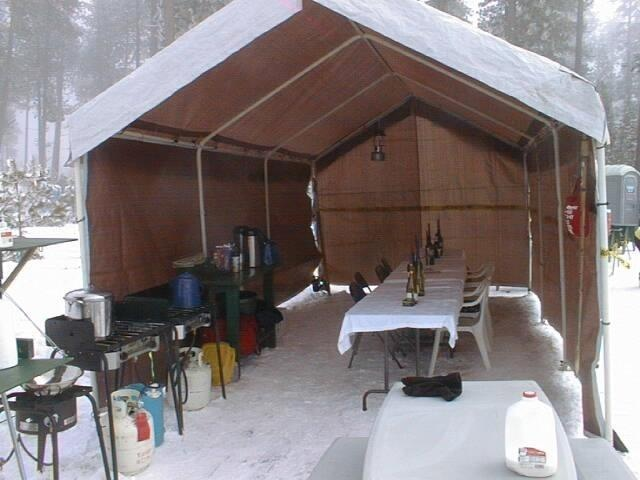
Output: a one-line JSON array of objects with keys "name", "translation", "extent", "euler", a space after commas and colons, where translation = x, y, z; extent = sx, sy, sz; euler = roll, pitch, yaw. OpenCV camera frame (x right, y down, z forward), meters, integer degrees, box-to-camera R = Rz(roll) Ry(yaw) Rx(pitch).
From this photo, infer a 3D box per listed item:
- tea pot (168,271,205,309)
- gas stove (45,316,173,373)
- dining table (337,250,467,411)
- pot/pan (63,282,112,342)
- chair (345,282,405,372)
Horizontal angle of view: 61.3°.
[{"name": "tea pot", "translation": [-1.136, 0.444, 4.626], "extent": [0.302, 0.272, 0.224], "euler": [2, 2, 16]}, {"name": "gas stove", "translation": [-1.457, 0.707, 3.728], "extent": [0.272, 0.228, 0.693], "euler": [-1, 0, 17]}, {"name": "dining table", "translation": [0.766, 0.686, 4.726], "extent": [1.022, 0.964, 2.288], "euler": [3, 8, 16]}, {"name": "pot/pan", "translation": [-1.512, 0.468, 3.568], "extent": [0.350, 0.341, 0.321], "euler": [0, 1, -6]}, {"name": "chair", "translation": [0.558, 0.892, 5.709], "extent": [0.522, 0.922, 0.566], "euler": [5, 9, 11]}]
